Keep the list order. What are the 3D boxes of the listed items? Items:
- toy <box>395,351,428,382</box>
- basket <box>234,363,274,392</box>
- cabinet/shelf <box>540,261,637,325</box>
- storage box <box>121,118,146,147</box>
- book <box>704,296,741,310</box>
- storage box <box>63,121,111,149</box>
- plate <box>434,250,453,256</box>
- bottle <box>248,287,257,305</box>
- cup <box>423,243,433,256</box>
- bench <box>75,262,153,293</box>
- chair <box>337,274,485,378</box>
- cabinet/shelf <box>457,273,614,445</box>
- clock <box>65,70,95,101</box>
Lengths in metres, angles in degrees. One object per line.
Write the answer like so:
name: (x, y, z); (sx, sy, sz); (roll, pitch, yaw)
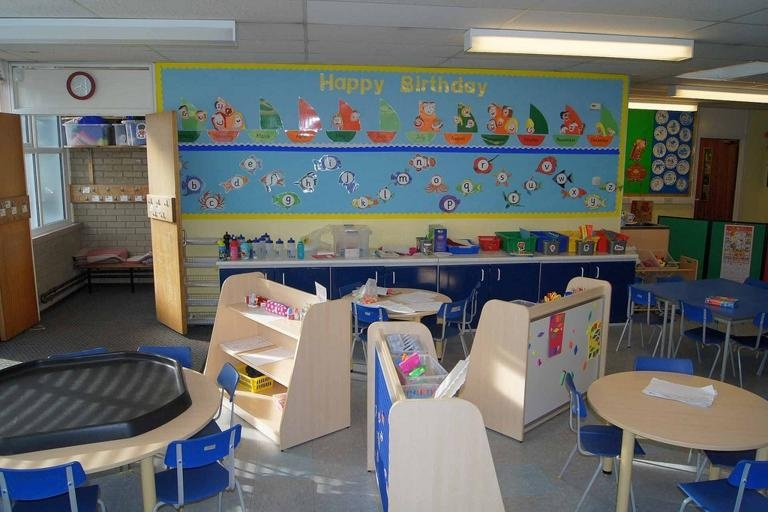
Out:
toy: (0.224, 0.941, 4.907); (0.287, 0.206, 0.193); (-6, -21, 13)
basket: (-1.592, 1.450, 6.877); (0.320, 0.155, 0.475); (-4, 11, -40)
cabinet/shelf: (3.121, 0.794, 9.007); (1.506, 1.036, 0.852); (-1, 4, -8)
storage box: (-4.332, -2.161, 10.043); (0.505, 0.453, 0.194); (4, 11, 24)
book: (4.259, 0.579, 7.301); (0.348, 0.090, 0.337); (5, 11, 28)
storage box: (-5.194, -2.112, 10.072); (0.645, 0.309, 0.444); (2, 6, 8)
plate: (0.892, -0.065, 8.716); (0.293, 0.071, 0.205); (-5, 11, -27)
bottle: (-1.573, 0.483, 6.833); (0.123, 0.193, 0.193); (0, 0, -32)
cup: (0.660, -0.101, 8.719); (0.163, 0.184, 0.161); (0, 9, 0)
bench: (-4.866, 0.335, 10.513); (1.315, 0.522, 0.609); (0, 10, 0)
chair: (0.318, 0.904, 7.364); (1.305, 0.628, 1.294); (0, 6, -2)
cabinet/shelf: (1.778, 1.069, 6.953); (1.919, 1.460, 1.110); (-7, 10, -43)
clock: (-4.451, -2.522, 8.437); (0.433, 0.446, 0.047); (1, 4, 1)
